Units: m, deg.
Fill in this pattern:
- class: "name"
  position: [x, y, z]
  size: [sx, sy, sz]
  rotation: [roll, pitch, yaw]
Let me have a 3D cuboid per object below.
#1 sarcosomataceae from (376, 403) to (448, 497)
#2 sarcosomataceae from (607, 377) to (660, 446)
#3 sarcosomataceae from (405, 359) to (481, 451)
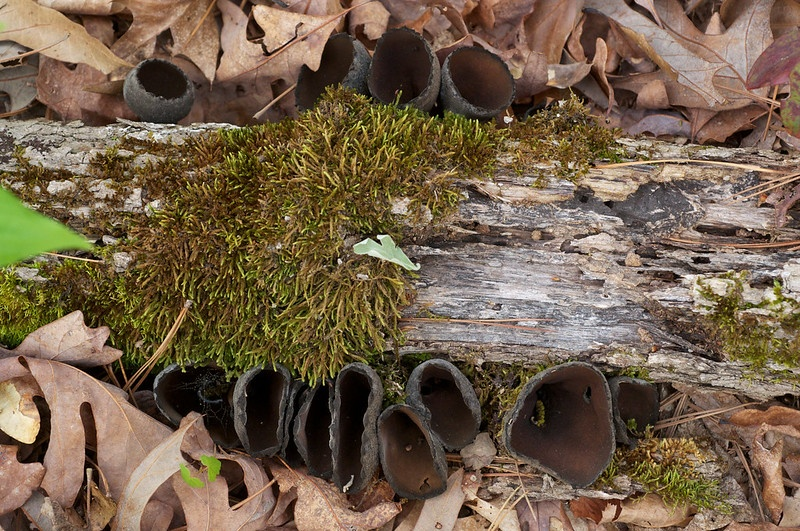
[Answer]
- class: "sarcosomataceae"
  position: [0.061, 1.418, 5.599]
  size: [0.540, 0.272, 0.696]
  rotation: [-7, 87, -14]
- class: "sarcosomataceae"
  position: [1.792, 1.106, 5.674]
  size: [0.415, 0.397, 0.450]
  rotation: [-1, 60, 5]
- class: "sarcosomataceae"
  position: [0.346, 0.999, 5.833]
  size: [0.551, 0.333, 0.721]
  rotation: [-29, 88, 3]
